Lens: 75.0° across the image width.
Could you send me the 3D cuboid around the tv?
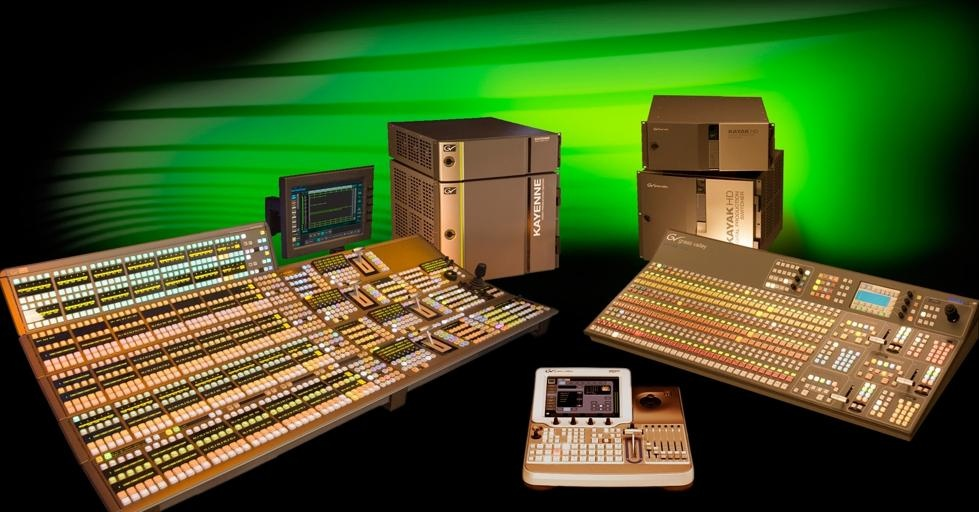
[{"bbox_3d":[-1.645,-0.456,6.526,0.166,0.842,1.178,18,22,32],"label":"tv"}]
